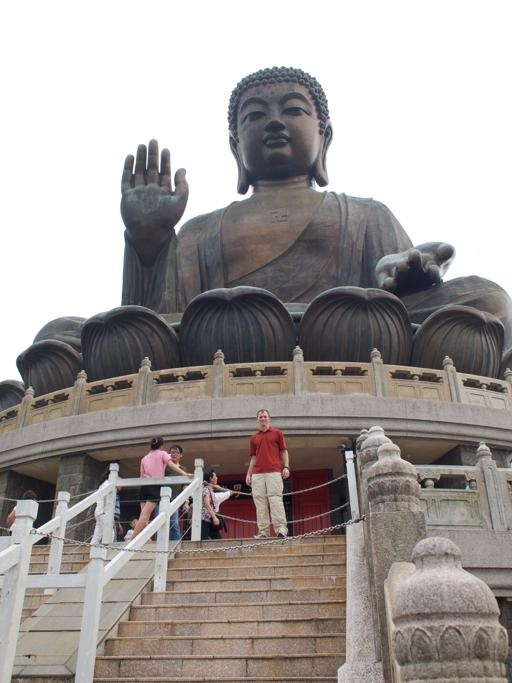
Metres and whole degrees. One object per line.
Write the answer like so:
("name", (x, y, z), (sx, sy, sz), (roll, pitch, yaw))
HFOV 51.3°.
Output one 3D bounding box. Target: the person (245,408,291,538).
("person", (0.108, 1.352, 5.673), (0.444, 1.435, 0.902), (-3, -38, 2))
